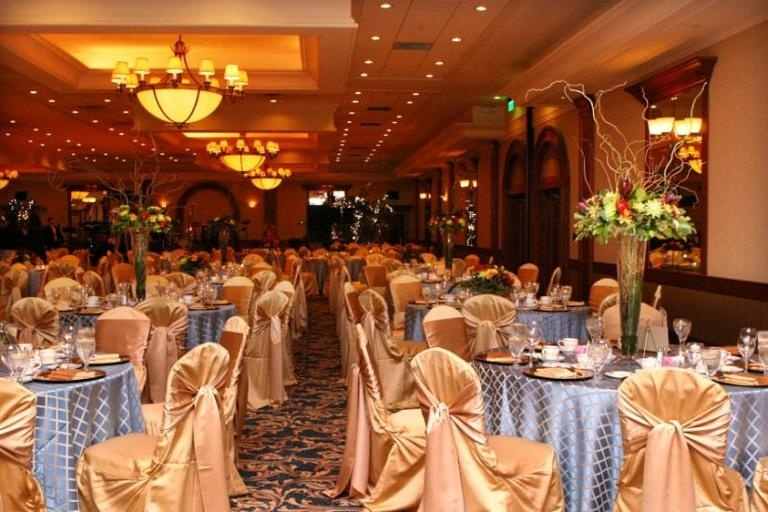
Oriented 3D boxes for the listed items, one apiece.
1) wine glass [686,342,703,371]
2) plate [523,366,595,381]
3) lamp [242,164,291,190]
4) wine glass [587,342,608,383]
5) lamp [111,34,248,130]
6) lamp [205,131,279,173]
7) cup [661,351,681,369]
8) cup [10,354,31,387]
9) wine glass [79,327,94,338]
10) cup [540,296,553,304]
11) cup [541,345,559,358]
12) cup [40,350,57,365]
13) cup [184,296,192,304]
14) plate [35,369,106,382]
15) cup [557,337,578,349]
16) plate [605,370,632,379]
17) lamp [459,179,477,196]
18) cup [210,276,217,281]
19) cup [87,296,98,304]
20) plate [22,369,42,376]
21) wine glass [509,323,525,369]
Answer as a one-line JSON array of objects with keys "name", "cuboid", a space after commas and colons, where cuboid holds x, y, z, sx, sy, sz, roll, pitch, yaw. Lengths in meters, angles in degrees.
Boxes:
[{"name": "wine glass", "cuboid": [1.974, 0.637, 3.573, 0.094, 0.160, 0.269, -1, -3, 28]}, {"name": "plate", "cuboid": [1.117, 0.748, 3.613, 0.427, 0.054, 0.327, -1, -3, 13]}, {"name": "lamp", "cuboid": [-3.319, -2.053, 14.730, 1.233, 0.645, 1.248, 1, 9, 21]}, {"name": "wine glass", "cuboid": [1.337, 0.644, 3.491, 0.123, 0.239, 0.277, -1, -3, 23]}, {"name": "lamp", "cuboid": [-3.179, -2.744, 8.680, 1.506, 1.172, 1.470, -5, 9, -39]}, {"name": "lamp", "cuboid": [-3.101, -2.240, 12.476, 1.676, 0.926, 1.682, 4, 8, 28]}, {"name": "cup", "cuboid": [1.845, 0.659, 3.604, 0.120, 0.093, 0.172, 4, 10, 30]}, {"name": "cup", "cuboid": [-2.190, 0.667, 3.387, 0.091, 0.205, 0.178, 1, -3, -33]}, {"name": "wine glass", "cuboid": [-1.960, 0.503, 3.703, 0.069, 0.067, 0.070, -1, -2, 20]}, {"name": "cup", "cuboid": [1.838, 0.498, 6.351, 0.102, 0.079, 0.099, 0, -3, 0]}, {"name": "cup", "cuboid": [1.155, 0.668, 3.916, 0.095, 0.068, 0.078, -9, -8, 43]}, {"name": "cup", "cuboid": [-2.302, 0.681, 3.864, 0.102, 0.088, 0.100, 1, 6, 0]}, {"name": "cup", "cuboid": [-2.222, 0.498, 6.402, 0.090, 0.085, 0.090, -1, 6, 0]}, {"name": "plate", "cuboid": [-2.021, 0.758, 3.621, 0.383, 0.063, 0.347, 2, -4, -38]}, {"name": "cup", "cuboid": [1.373, 0.651, 4.198, 0.123, 0.079, 0.086, -2, 0, -12]}, {"name": "plate", "cuboid": [1.488, 0.753, 3.586, 0.149, 0.040, 0.176, -1, -3, 24]}, {"name": "lamp", "cuboid": [2.489, -2.037, 16.488, 0.422, 0.456, 0.518, 0, 3, 20]}, {"name": "cup", "cuboid": [-2.615, 0.354, 8.664, 0.083, 0.077, 0.036, -2, -18, -5]}, {"name": "cup", "cuboid": [-3.242, 0.495, 6.274, 0.095, 0.070, 0.096, 1, -7, 0]}, {"name": "plate", "cuboid": [-2.219, 0.731, 3.543, 0.065, 0.018, 0.065, -1, 1, -19]}, {"name": "wine glass", "cuboid": [0.897, 0.589, 3.775, 0.107, 0.283, 0.325, 0, -3, 13]}]
